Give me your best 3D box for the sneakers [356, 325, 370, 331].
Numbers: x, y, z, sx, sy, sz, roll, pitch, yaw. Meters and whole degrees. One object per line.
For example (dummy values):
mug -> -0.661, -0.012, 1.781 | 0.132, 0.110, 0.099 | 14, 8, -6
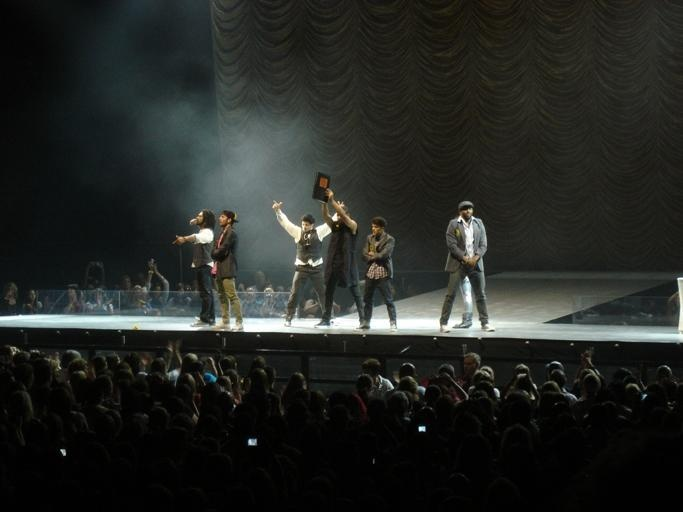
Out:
sneakers -> 0.267, 0.831, 6.944 | 0.143, 0.064, 0.055 | 11, -42, -1

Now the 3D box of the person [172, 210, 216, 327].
person -> -1.813, 0.112, 7.612 | 0.444, 1.512, 1.126 | 2, -3, -12

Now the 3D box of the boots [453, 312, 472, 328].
boots -> 1.464, 0.749, 7.157 | 0.250, 0.250, 0.133 | 3, 5, 14

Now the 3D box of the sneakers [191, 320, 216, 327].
sneakers -> -1.732, 0.830, 7.486 | 0.264, 0.118, 0.116 | 4, -1, 0

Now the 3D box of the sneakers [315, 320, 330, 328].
sneakers -> -0.212, 0.824, 7.329 | 0.206, 0.100, 0.072 | 2, 0, 9

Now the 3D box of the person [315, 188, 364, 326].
person -> 0.018, 0.023, 7.246 | 0.554, 1.658, 0.778 | 2, -3, -2

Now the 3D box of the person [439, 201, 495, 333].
person -> 1.501, 0.094, 6.985 | 0.602, 1.551, 0.590 | 1, -3, 13

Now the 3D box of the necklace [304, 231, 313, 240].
necklace -> -0.424, -0.283, 7.663 | 0.098, 0.028, 0.098 | 13, 38, 41

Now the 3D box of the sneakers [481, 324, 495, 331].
sneakers -> 1.682, 0.806, 6.814 | 0.071, 0.070, 0.169 | 0, -5, -20

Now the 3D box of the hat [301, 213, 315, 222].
hat -> -0.423, -0.494, 7.709 | 0.150, 0.124, 0.181 | 2, -3, -7

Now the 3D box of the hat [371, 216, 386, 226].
hat -> 0.450, -0.404, 7.154 | 0.129, 0.164, 0.165 | 2, 17, -4

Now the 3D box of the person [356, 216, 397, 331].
person -> 0.474, 0.178, 7.125 | 0.431, 1.360, 0.508 | 2, -3, 4

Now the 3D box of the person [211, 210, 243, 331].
person -> -1.470, 0.153, 7.766 | 0.404, 1.488, 1.400 | 2, -3, -11
